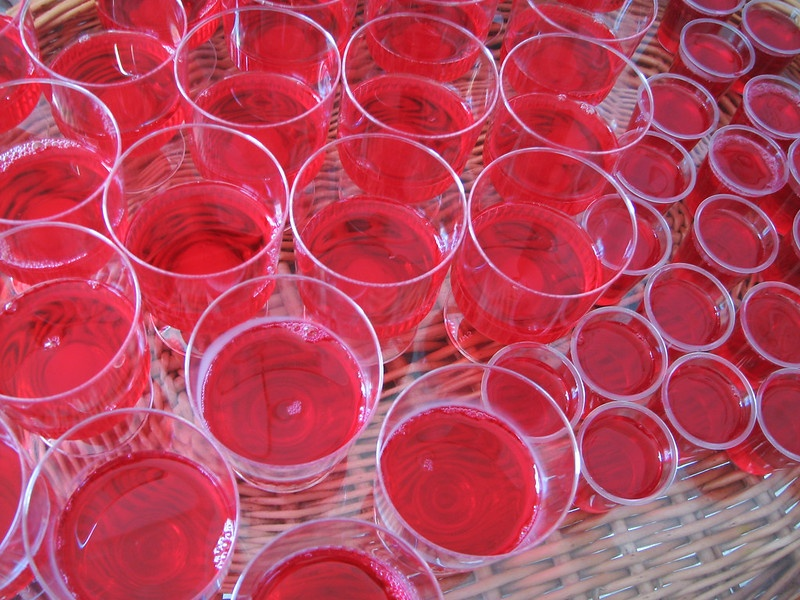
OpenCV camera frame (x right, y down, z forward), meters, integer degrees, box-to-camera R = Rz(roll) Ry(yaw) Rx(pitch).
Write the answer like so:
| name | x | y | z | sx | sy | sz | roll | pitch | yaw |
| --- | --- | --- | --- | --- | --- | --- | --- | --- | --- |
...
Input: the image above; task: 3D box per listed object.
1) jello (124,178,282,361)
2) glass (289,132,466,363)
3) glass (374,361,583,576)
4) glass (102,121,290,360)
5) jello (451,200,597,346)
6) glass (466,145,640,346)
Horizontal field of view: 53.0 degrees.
| name | x | y | z | sx | sy | sz | roll | pitch | yaw |
| --- | --- | --- | --- | --- | --- | --- | --- | --- | --- |
| jello | -0.432 | -0.055 | 1.825 | 0.324 | 0.370 | 0.278 | -5 | -20 | -12 |
| glass | -0.036 | -0.136 | 1.990 | 0.416 | 0.483 | 0.489 | -1 | -18 | -5 |
| glass | 0.159 | 0.354 | 1.722 | 0.390 | 0.458 | 0.339 | 9 | -24 | -10 |
| glass | -0.393 | -0.160 | 1.988 | 0.477 | 0.532 | 0.541 | 6 | -23 | -9 |
| jello | 0.286 | -0.063 | 1.935 | 0.325 | 0.335 | 0.239 | -18 | -14 | -6 |
| glass | 0.314 | -0.128 | 2.009 | 0.404 | 0.467 | 0.443 | -5 | -13 | -9 |
